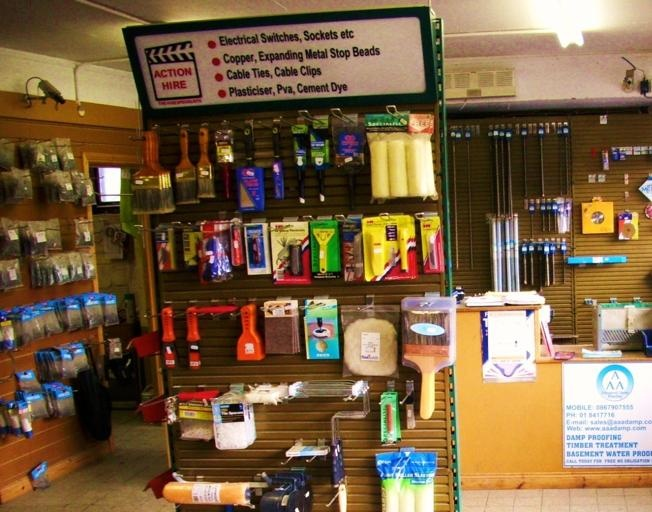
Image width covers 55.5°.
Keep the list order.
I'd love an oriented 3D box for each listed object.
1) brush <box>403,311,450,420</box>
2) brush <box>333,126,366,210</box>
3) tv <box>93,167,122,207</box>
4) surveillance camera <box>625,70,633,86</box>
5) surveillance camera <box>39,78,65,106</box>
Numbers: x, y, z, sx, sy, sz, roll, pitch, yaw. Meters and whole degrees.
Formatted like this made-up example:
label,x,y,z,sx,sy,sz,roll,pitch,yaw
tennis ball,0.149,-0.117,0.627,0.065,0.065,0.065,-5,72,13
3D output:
label,x,y,z,sx,sy,sz,roll,pitch,yaw
brush,0.648,0.671,3.920,0.328,0.662,0.164,-4,7,8
brush,0.143,-0.596,4.107,0.218,0.500,0.143,0,10,5
tv,-3.081,-1.064,8.810,0.049,0.402,0.351,-3,6,22
surveillance camera,3.752,-2.202,7.630,0.137,0.182,0.047,-7,6,-19
surveillance camera,-2.807,-1.674,6.253,0.230,0.270,0.425,-7,6,-19
